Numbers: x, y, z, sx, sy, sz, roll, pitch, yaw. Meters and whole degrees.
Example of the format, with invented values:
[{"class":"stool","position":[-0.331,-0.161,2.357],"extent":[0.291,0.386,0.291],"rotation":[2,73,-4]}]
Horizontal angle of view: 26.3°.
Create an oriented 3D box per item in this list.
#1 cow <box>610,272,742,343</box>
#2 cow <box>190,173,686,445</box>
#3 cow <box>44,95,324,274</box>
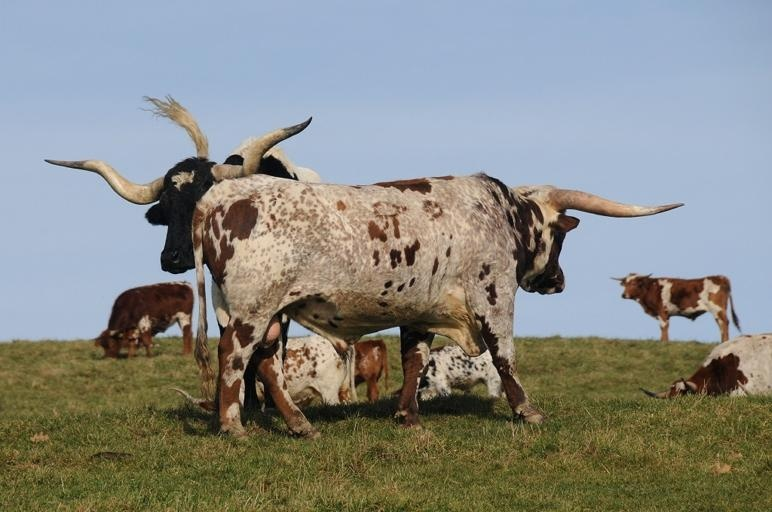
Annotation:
[{"class":"cow","position":[8.459,1.418,47.852],"extent":[3.432,1.874,1.033],"rotation":[1,3,28]},{"class":"cow","position":[-0.106,0.799,33.079],"extent":[7.461,4.899,1.769],"rotation":[-1,6,-11]},{"class":"cow","position":[-4.072,-1.366,34.557],"extent":[4.930,3.762,3.279],"rotation":[-6,11,8]}]
